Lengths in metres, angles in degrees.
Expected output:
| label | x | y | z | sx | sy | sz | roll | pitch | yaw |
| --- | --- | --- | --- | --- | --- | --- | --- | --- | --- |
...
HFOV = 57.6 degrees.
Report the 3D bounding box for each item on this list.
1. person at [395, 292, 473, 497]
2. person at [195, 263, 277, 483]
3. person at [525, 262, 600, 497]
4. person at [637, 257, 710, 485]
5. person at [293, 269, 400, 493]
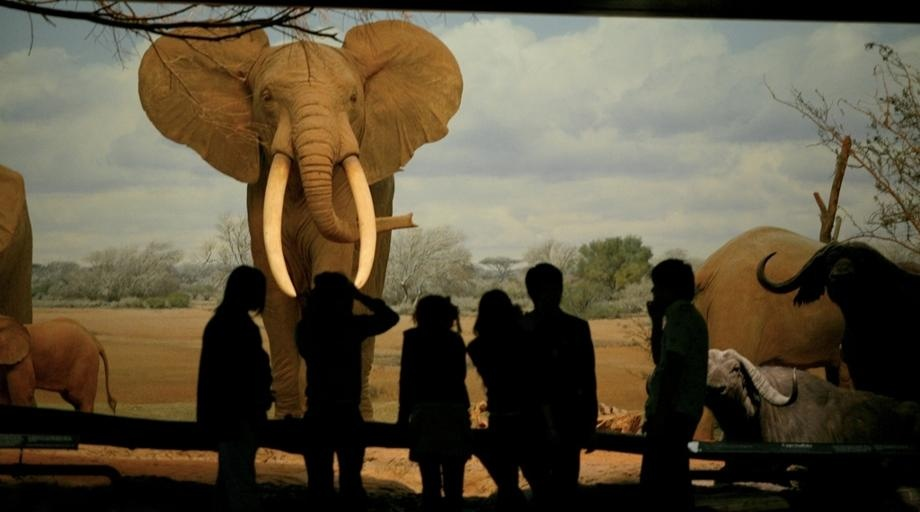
| label | x | y | z | sx | sy | sz | roll | pitch | yaw |
| --- | --- | --- | --- | --- | --- | --- | --- | --- | --- |
| person | -0.266 | 1.522 | 8.712 | 0.740 | 2.237 | 0.242 | 1 | -1 | -5 |
| person | -2.299 | 1.113 | 8.563 | 0.747 | 2.026 | 0.226 | 2 | -1 | -16 |
| person | 1.044 | 1.293 | 8.751 | 0.746 | 2.428 | 0.278 | 1 | -1 | 4 |
| person | 2.227 | 1.214 | 8.680 | 0.617 | 2.367 | 0.573 | 1 | -1 | 12 |
| person | -1.282 | 1.366 | 8.896 | 0.897 | 2.383 | 0.355 | 1 | -1 | -6 |
